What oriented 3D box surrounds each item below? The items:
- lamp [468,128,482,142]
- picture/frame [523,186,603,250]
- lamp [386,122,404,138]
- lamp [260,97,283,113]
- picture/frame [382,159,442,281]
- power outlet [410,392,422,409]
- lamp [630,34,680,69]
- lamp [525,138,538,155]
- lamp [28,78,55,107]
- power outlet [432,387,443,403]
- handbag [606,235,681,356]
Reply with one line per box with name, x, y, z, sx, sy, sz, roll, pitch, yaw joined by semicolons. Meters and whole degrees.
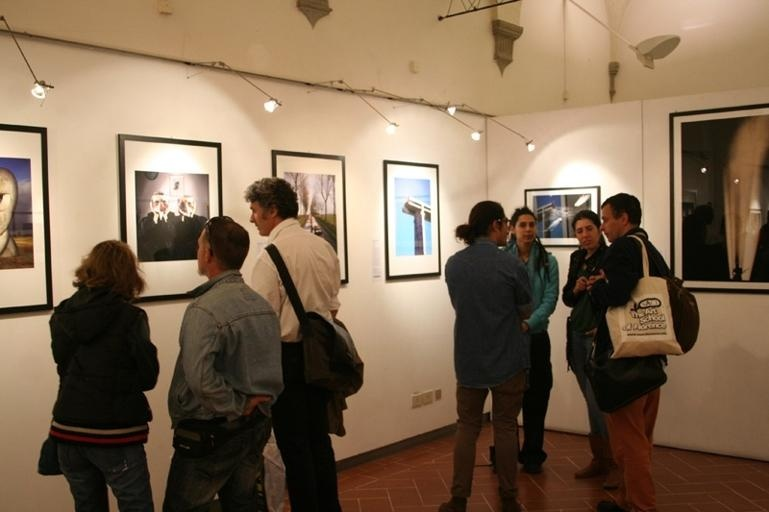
lamp;1.050;-1.370;6.841;0.124;0.070;0.174;0;3;3
picture/frame;1.933;-0.395;6.410;0.686;0.569;0.032;-1;-1;34
lamp;0.103;-1.328;6.348;0.167;0.085;0.230;1;-2;0
lamp;-1.042;-1.376;5.479;0.112;0.104;0.135;30;45;0
picture/frame;0.306;-0.395;6.569;0.824;1.262;0.117;-4;6;-41
power outlet;0.337;1.567;6.537;0.030;0.143;0.186;-2;-2;43
lamp;2.601;-1.954;5.757;0.375;0.339;0.313;3;6;26
lamp;1.689;-1.265;6.922;0.115;0.131;0.147;-3;-9;8
lamp;-2.623;-1.242;4.584;0.132;0.176;0.222;3;-6;6
power outlet;0.587;1.555;6.737;0.028;0.162;0.167;-7;2;44
handbag;2.040;0.332;4.693;0.567;0.935;0.257;2;5;18
